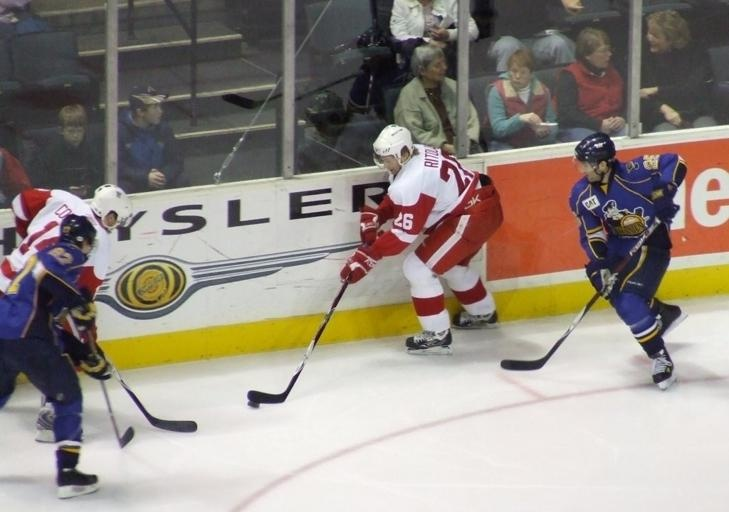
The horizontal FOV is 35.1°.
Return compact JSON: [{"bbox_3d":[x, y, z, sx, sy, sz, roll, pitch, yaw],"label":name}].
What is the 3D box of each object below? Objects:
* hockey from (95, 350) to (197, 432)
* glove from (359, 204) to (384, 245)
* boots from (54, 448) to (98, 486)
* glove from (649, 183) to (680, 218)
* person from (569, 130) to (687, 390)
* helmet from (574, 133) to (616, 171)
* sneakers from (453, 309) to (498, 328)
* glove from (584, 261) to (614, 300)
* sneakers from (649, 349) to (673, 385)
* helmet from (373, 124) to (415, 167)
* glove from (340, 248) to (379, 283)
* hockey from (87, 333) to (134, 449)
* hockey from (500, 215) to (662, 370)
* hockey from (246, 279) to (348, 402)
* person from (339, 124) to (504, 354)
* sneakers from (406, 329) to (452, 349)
[{"bbox_3d":[-1.360,0.849,7.062,0.702,0.135,0.055,40,19,8],"label":"hockey"},{"bbox_3d":[0.037,-0.195,7.572,0.161,0.212,0.093,13,-9,19],"label":"glove"},{"bbox_3d":[-1.592,1.180,6.345,0.113,0.250,0.270,-15,-16,40],"label":"boots"},{"bbox_3d":[1.871,-0.326,7.129,0.191,0.246,0.083,-11,17,-20],"label":"glove"},{"bbox_3d":[1.665,-0.009,7.237,0.710,1.525,0.585,7,20,39],"label":"person"},{"bbox_3d":[1.422,-0.638,7.116,0.229,0.178,0.170,2,5,4],"label":"helmet"},{"bbox_3d":[0.760,0.450,7.907,0.303,0.124,0.115,2,54,1],"label":"sneakers"},{"bbox_3d":[1.491,0.146,7.202,0.145,0.232,0.172,9,55,29],"label":"glove"},{"bbox_3d":[1.832,0.688,7.097,0.130,0.226,0.206,-2,16,14],"label":"sneakers"},{"bbox_3d":[0.186,-0.705,7.359,0.252,0.220,0.186,-7,37,-23],"label":"helmet"},{"bbox_3d":[-0.034,0.080,7.418,0.105,0.244,0.184,36,17,-55],"label":"glove"},{"bbox_3d":[-1.517,0.821,6.791,0.211,0.621,0.048,-28,-7,24],"label":"hockey"},{"bbox_3d":[1.413,0.242,7.565,0.135,1.214,0.178,25,20,-52],"label":"hockey"},{"bbox_3d":[-0.448,0.570,7.201,0.218,0.566,0.807,8,20,41],"label":"hockey"},{"bbox_3d":[0.395,-0.128,7.568,1.061,1.487,0.466,-8,16,-8],"label":"person"},{"bbox_3d":[0.427,0.555,7.642,0.332,0.154,0.118,3,8,2],"label":"sneakers"}]
